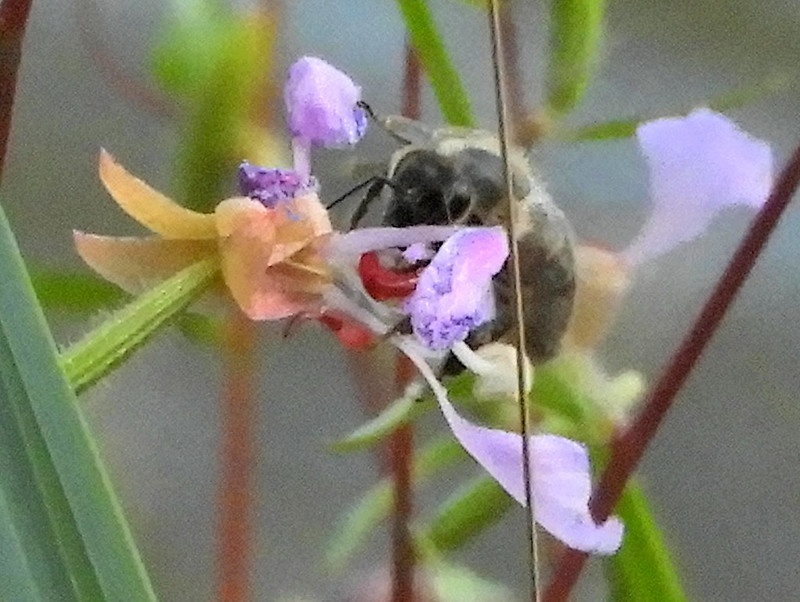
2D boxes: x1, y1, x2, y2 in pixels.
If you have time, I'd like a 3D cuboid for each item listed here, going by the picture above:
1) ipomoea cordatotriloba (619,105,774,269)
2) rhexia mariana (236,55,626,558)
[{"bbox_3d":[0.168,-0.073,0.658,0.099,0.043,0.058,-22,53,-7],"label":"ipomoea cordatotriloba"},{"bbox_3d":[0.019,0.019,0.631,0.253,0.199,0.125,32,65,28],"label":"rhexia mariana"}]
